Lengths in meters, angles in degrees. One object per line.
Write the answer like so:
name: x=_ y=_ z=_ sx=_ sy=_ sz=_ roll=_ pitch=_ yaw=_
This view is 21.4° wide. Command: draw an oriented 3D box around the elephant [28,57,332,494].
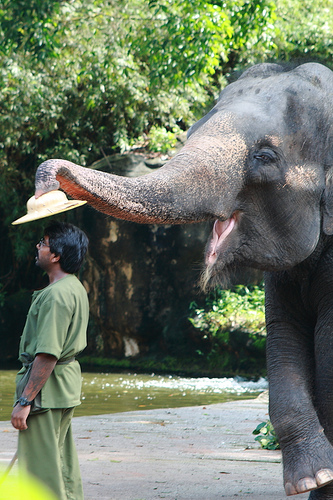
elephant: x=0.340 y=0.089 z=3.816 sx=0.838 sy=1.913 sz=1.307 roll=4 pitch=8 yaw=16
